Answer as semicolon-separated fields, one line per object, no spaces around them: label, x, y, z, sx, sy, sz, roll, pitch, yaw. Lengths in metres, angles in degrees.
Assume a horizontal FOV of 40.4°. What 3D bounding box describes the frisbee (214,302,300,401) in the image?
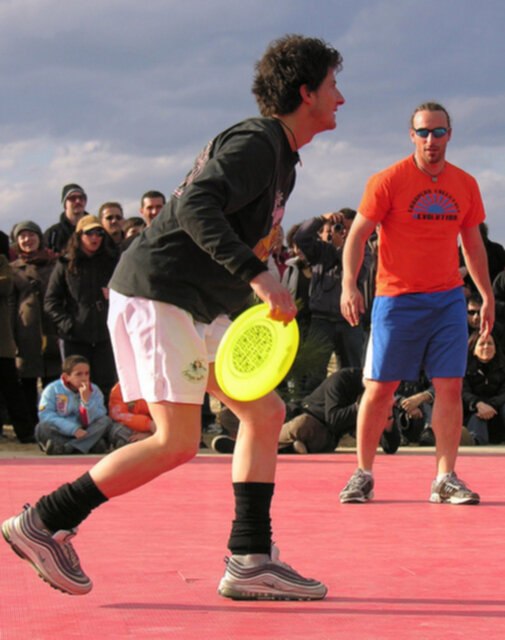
frisbee;0.020;0.102;2.233;0.076;0.335;0.359;27;-55;-34

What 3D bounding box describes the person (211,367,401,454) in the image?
person;0.608;0.995;7.361;2.233;0.695;0.903;-9;-8;2

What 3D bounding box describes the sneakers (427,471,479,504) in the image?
sneakers;1.197;1.037;4.201;0.152;0.150;0.382;10;-12;-37

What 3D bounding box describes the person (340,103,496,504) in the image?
person;0.964;-0.086;4.097;1.120;2.435;0.524;-6;7;-6

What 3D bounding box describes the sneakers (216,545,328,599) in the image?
sneakers;0.062;0.807;2.201;0.424;0.158;0.117;1;-6;-9

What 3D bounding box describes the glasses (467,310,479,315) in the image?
glasses;2.554;-0.088;7.943;0.116;0.028;0.141;4;-7;14

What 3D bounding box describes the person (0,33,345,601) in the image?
person;-0.235;-0.038;2.223;1.051;1.843;0.782;-4;7;13

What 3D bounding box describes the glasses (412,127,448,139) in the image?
glasses;1.059;-1.115;4.081;0.189;0.047;0.158;0;-5;2

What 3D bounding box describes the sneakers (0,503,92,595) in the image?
sneakers;-0.616;0.710;2.084;0.294;0.275;0.146;-1;8;27

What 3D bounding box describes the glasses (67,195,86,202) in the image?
glasses;-2.249;-1.583;8.853;0.127;0.029;0.110;0;-24;-27

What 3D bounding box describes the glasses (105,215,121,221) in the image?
glasses;-1.826;-1.342;9.000;0.133;0.094;0.037;1;-1;-8
